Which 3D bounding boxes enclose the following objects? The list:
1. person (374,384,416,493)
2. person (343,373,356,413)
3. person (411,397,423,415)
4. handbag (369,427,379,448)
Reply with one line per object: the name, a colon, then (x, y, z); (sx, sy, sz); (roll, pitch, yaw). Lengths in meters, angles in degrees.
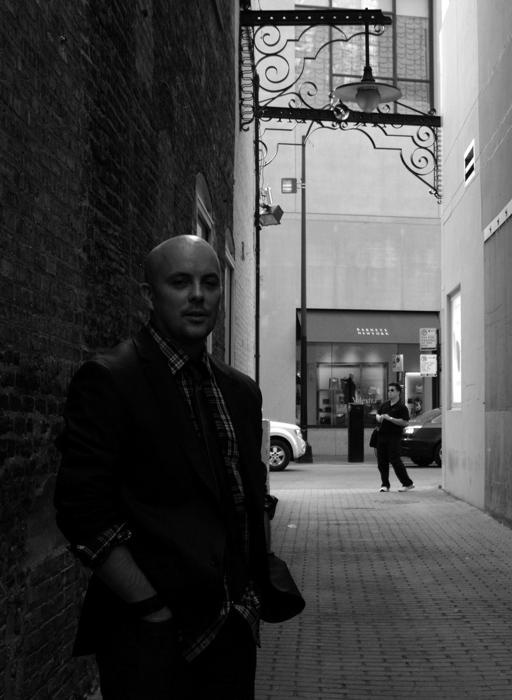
person: (3.057, 1.944, 15.415); (0.861, 2.452, 1.279); (-1, -5, 14)
person: (3.980, 1.707, 28.804); (0.578, 1.376, 0.286); (1, -4, -15)
person: (6.978, 2.388, 29.566); (0.433, 1.212, 0.535); (1, -7, 7)
handbag: (2.668, 2.051, 15.292); (0.118, 0.611, 0.361); (5, 11, 2)
